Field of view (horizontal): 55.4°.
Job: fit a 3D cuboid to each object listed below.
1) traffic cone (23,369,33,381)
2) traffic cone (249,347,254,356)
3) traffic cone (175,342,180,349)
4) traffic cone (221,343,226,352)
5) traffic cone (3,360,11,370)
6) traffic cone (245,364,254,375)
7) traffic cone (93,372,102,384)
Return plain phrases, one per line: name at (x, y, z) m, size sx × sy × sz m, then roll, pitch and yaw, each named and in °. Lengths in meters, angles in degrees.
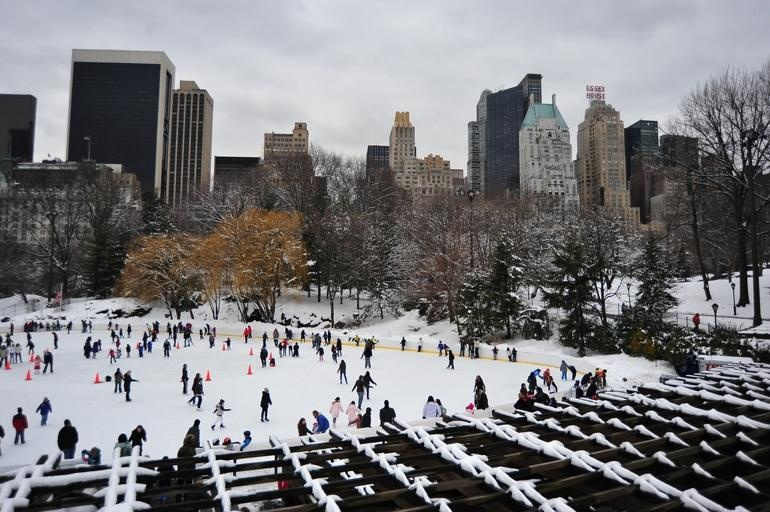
traffic cone at (-27.016, 9.116, 55.525) m, size 0.715 × 0.830 × 0.756 m, roll 3°, pitch -8°, yaw -23°
traffic cone at (-11.527, 8.335, 63.176) m, size 0.452 × 0.498 × 0.425 m, roll 3°, pitch -4°, yaw -31°
traffic cone at (-18.591, 8.126, 65.828) m, size 0.425 × 0.580 × 0.468 m, roll 1°, pitch 6°, yaw -2°
traffic cone at (-14.315, 8.200, 65.137) m, size 0.443 × 0.584 × 0.417 m, roll -4°, pitch 3°, yaw -39°
traffic cone at (-29.875, 8.742, 58.301) m, size 0.760 × 0.849 × 0.737 m, roll -7°, pitch -9°, yaw 37°
traffic cone at (-10.616, 9.010, 57.307) m, size 0.537 × 0.637 × 0.567 m, roll 1°, pitch 4°, yaw 25°
traffic cone at (-21.706, 9.281, 55.234) m, size 0.591 × 0.673 × 0.638 m, roll 0°, pitch -7°, yaw -1°
